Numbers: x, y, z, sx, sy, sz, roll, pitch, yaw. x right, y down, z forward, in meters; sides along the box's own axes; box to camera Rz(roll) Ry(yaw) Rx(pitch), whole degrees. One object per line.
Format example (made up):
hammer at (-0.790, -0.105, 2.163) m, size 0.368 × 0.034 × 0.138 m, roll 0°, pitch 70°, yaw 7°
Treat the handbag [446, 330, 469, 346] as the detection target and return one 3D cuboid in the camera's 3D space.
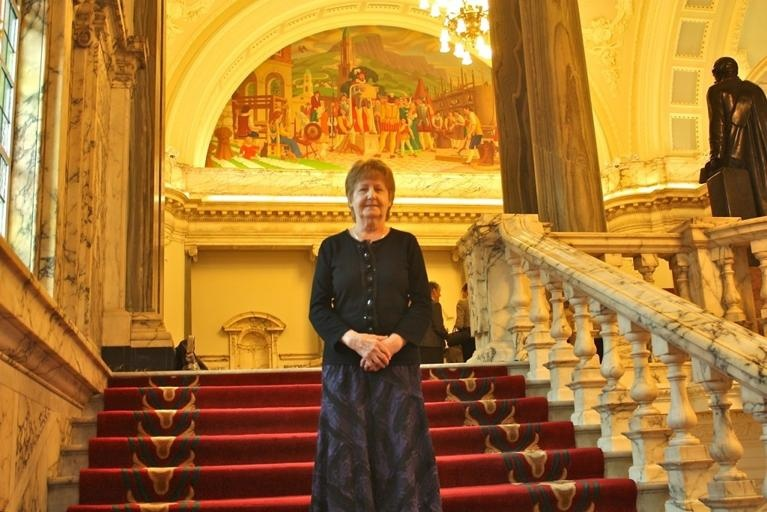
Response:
handbag at (0.938, 1.028, 10.628) m, size 0.179 × 0.112 × 0.241 m, roll 0°, pitch -14°, yaw -4°
